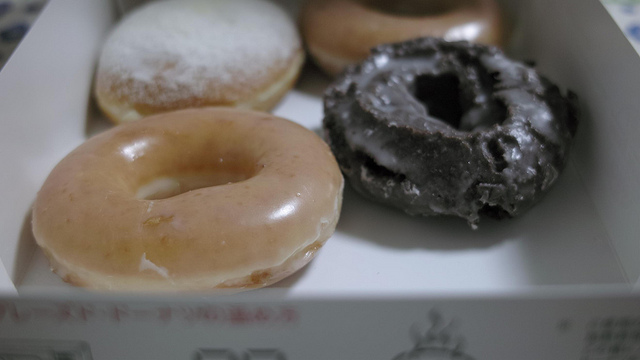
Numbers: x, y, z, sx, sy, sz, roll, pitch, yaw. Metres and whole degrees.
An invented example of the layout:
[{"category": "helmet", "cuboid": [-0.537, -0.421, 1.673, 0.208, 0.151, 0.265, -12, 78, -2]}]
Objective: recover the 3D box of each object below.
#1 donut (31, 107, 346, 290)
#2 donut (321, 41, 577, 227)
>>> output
[{"category": "donut", "cuboid": [-0.222, 0.030, 1.228, 0.522, 0.116, 0.339, -1, 59, -2]}, {"category": "donut", "cuboid": [0.232, -0.095, 1.272, 0.382, 0.147, 0.381, -26, 43, -23]}]
